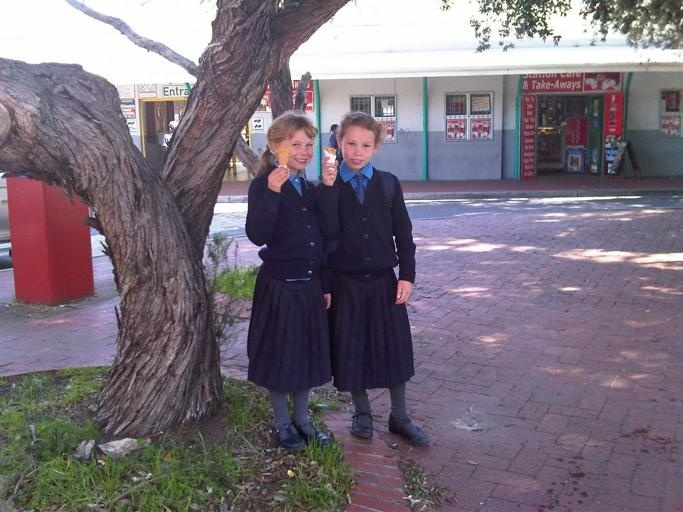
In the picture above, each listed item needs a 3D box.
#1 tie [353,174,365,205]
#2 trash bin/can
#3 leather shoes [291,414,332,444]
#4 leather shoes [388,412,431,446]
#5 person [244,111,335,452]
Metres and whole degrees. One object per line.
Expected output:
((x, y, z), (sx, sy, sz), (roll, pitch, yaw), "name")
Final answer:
((0.124, -0.435, 3.436), (0.064, 0.201, 0.047), (-3, -3, 0), "tie")
((-4.070, -0.225, 7.149), (1.001, 1.671, 0.754), (-5, 12, -19), "trash bin/can")
((-0.220, 1.121, 3.433), (0.301, 0.131, 0.118), (7, 11, 38), "leather shoes")
((0.470, 1.209, 3.665), (0.290, 0.128, 0.141), (15, 18, 36), "leather shoes")
((-0.344, -0.021, 3.319), (0.604, 1.725, 0.457), (-4, 12, -12), "person")
